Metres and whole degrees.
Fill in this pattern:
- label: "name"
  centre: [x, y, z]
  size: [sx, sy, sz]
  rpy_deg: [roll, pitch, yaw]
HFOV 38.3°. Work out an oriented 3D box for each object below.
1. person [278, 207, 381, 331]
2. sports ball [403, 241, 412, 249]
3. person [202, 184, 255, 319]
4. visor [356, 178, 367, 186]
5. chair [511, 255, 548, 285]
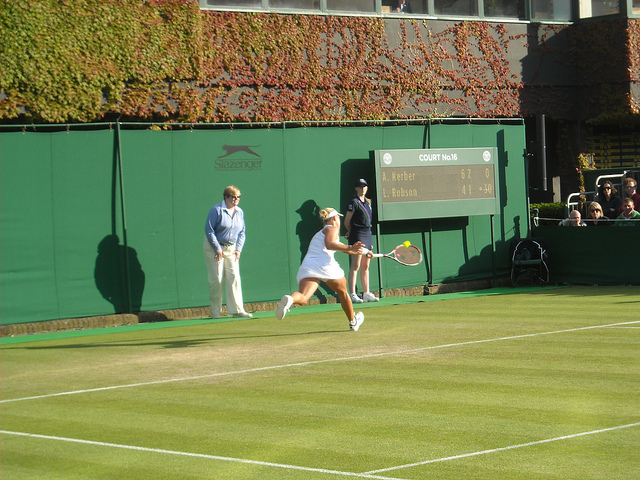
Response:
- label: "person"
  centre: [0.094, 0.531, 14.024]
  size: [1.366, 1.937, 0.809]
  rpy_deg: [-3, 6, -10]
- label: "sports ball"
  centre: [1.625, 0.098, 17.119]
  size: [0.150, 0.117, 0.157]
  rpy_deg: [1, -1, 0]
- label: "person"
  centre: [-1.688, 0.263, 16.430]
  size: [0.757, 2.389, 0.411]
  rpy_deg: [-2, 6, -7]
- label: "visor"
  centre: [0.805, -1.131, 18.182]
  size: [0.179, 0.096, 0.275]
  rpy_deg: [0, 9, 4]
- label: "chair"
  centre: [4.482, 0.663, 19.742]
  size: [0.534, 0.742, 0.534]
  rpy_deg: [1, -2, 5]
